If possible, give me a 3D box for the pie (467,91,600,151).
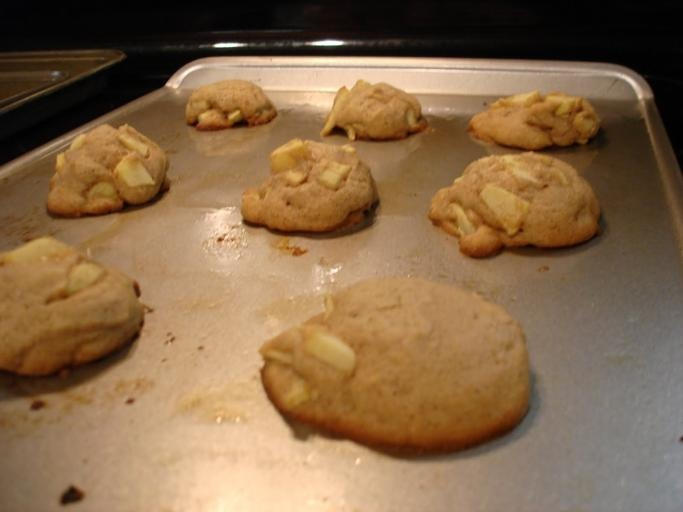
[{"bbox_3d":[0.974,-0.682,2.832,0.452,0.180,0.354,2,35,21],"label":"pie"}]

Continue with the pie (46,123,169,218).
[{"bbox_3d":[-1.117,-0.443,2.656,0.559,0.198,0.649,-2,43,-7],"label":"pie"}]

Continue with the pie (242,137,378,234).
[{"bbox_3d":[-0.133,-0.273,2.411,0.444,0.158,0.436,12,48,8],"label":"pie"}]

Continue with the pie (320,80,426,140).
[{"bbox_3d":[0.160,-0.771,2.942,0.397,0.155,0.358,12,46,14],"label":"pie"}]

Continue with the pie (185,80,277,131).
[{"bbox_3d":[-0.638,-0.824,3.109,0.328,0.120,0.323,13,35,16],"label":"pie"}]

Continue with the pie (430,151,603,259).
[{"bbox_3d":[0.744,-0.272,2.428,0.686,0.238,0.587,-1,37,14],"label":"pie"}]
